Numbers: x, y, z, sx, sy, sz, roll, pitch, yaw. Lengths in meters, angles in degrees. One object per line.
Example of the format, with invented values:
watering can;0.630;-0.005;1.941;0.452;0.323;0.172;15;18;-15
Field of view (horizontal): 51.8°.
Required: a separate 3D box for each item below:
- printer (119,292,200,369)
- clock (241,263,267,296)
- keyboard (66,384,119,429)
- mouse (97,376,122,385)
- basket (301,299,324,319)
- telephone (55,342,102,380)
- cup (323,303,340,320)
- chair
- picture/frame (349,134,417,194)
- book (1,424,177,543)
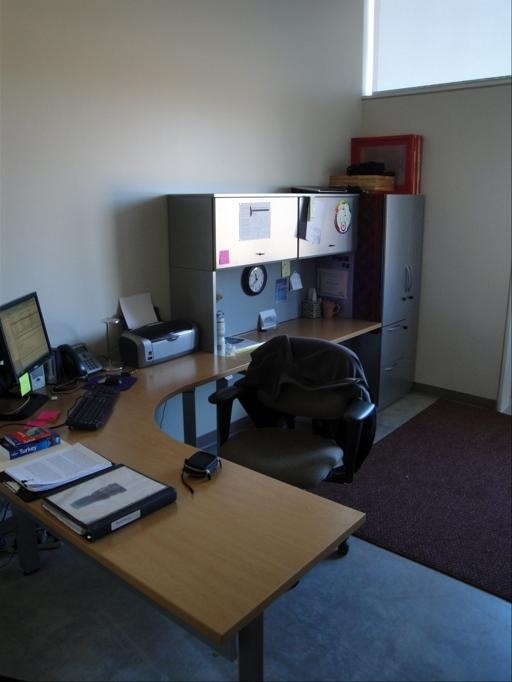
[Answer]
printer;-0.510;-0.049;2.740;0.340;0.404;0.447;12;22;35
clock;-0.020;-0.399;3.375;0.028;0.175;0.175;5;16;31
keyboard;-0.614;0.247;2.007;0.081;0.026;0.234;4;19;-2
mouse;-0.639;0.172;2.307;0.065;0.019;0.050;2;16;1
basket;0.424;-0.275;4.004;0.126;0.172;0.170;7;15;31
telephone;-0.812;0.045;2.412;0.146;0.131;0.201;13;16;8
cup;0.552;-0.226;3.936;0.132;0.131;0.089;1;13;-1
chair;0.138;0.450;2.225;0.662;0.832;0.537;7;13;26
picture/frame;0.987;-1.340;4.017;0.490;0.441;0.164;17;23;37
book;-0.448;0.354;1.372;0.320;0.047;0.199;16;25;37
